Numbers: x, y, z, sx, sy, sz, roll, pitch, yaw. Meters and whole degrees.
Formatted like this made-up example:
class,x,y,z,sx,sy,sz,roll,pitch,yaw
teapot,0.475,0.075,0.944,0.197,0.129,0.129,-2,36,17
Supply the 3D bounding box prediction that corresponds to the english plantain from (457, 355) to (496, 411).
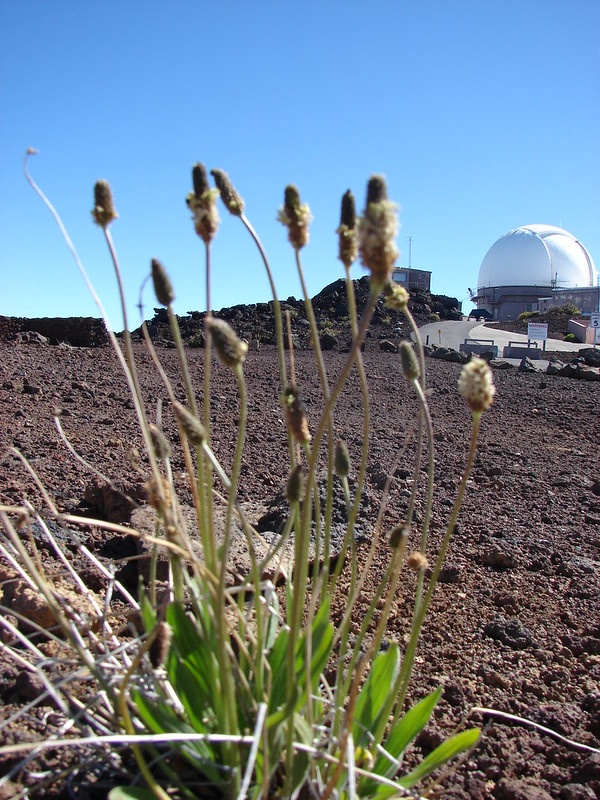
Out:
class,x,y,z,sx,sy,sz,roll,pitch,yaw
english plantain,0.379,-0.024,1.454,0.065,0.122,0.176,1,7,17
